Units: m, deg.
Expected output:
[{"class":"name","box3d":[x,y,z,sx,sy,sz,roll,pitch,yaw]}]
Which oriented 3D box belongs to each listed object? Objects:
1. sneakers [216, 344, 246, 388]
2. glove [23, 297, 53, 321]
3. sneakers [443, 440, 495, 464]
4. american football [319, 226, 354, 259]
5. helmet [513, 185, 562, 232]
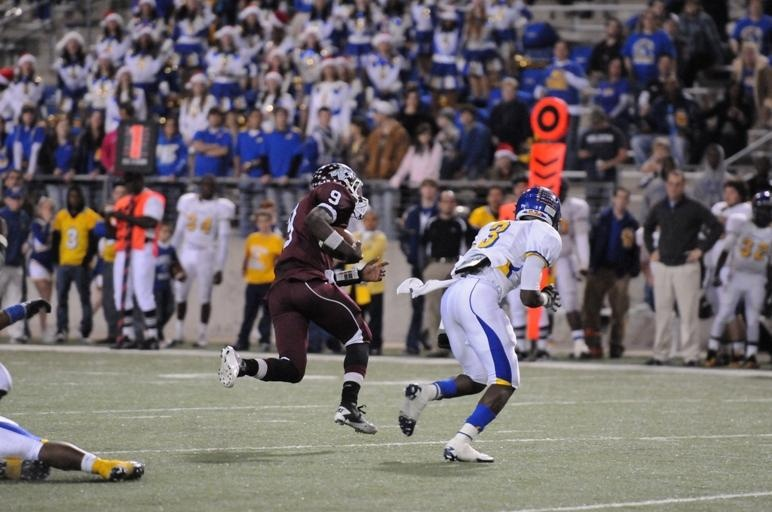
[{"class":"sneakers","box3d":[-1.685,1.219,16.123,0.210,0.503,0.246,-5,-14,26]},{"class":"glove","box3d":[-4.374,0.661,18.790,0.447,0.166,0.364,-15,-28,-18]},{"class":"sneakers","box3d":[0.874,2.068,15.765,0.554,0.250,0.221,3,-3,-4]},{"class":"american football","box3d":[-0.521,-0.107,16.464,0.387,0.224,0.280,32,-1,-28]},{"class":"helmet","box3d":[1.667,-0.532,16.281,0.372,0.420,0.483,6,4,17]}]
